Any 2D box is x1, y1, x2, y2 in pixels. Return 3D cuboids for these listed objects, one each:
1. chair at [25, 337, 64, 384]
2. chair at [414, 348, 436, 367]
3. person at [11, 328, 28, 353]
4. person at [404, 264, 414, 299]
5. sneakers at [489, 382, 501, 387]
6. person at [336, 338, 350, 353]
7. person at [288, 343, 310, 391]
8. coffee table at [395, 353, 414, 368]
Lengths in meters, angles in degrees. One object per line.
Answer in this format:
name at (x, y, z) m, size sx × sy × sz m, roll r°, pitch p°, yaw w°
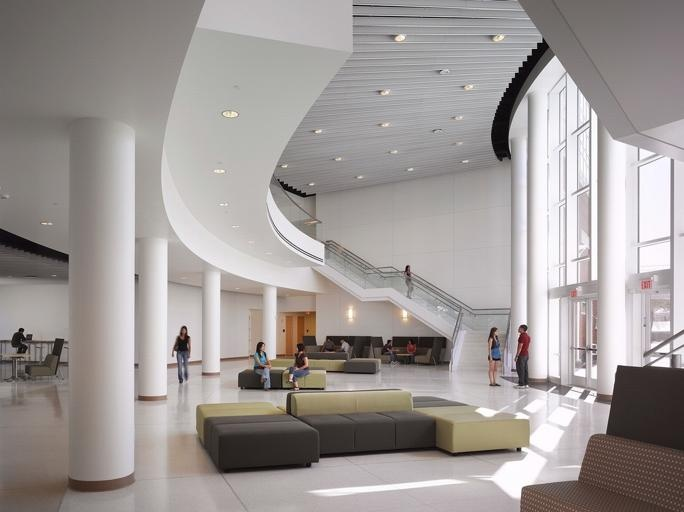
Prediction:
chair at (-9.586, 3.319, 15.628) m, size 0.920 × 1.302 × 1.730 m, roll 5°, pitch -9°, yaw -32°
chair at (3.847, 4.646, 22.261) m, size 0.734 × 0.714 × 0.727 m, roll -1°, pitch -8°, yaw 22°
person at (-12.624, 3.307, 19.030) m, size 0.487 × 0.975 × 2.174 m, roll 5°, pitch -9°, yaw -33°
person at (3.222, 1.226, 23.288) m, size 0.431 × 1.686 × 1.538 m, roll 0°, pitch -7°, yaw 7°
sneakers at (4.473, 3.727, 14.100) m, size 0.247 × 0.100 × 0.130 m, roll 4°, pitch -6°, yaw -16°
person at (0.076, 4.293, 23.261) m, size 0.592 × 1.048 × 0.508 m, roll -11°, pitch -21°, yaw 26°
person at (-1.158, 3.022, 13.392) m, size 0.583 × 1.261 × 1.728 m, roll 1°, pitch -7°, yaw -5°
coffee table at (3.049, 4.933, 23.095) m, size 0.568 × 0.294 × 0.584 m, roll -1°, pitch -3°, yaw 25°
